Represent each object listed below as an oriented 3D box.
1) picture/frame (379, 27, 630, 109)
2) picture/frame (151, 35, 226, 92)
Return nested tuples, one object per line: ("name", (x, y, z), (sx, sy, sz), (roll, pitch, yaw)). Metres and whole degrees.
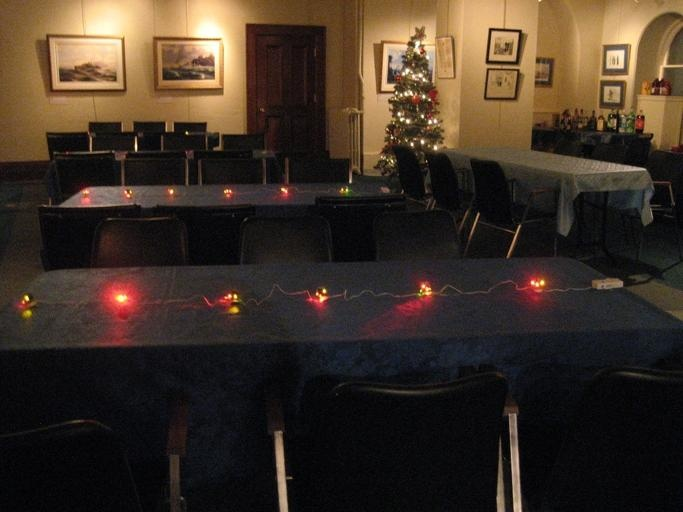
("picture/frame", (2.612, -3.236, 9.435), (4.589, 1.206, 2.863), (-11, 19, -31))
("picture/frame", (-2.785, -3.452, 9.515), (0.935, 0.741, 0.040), (-1, 5, -15))
